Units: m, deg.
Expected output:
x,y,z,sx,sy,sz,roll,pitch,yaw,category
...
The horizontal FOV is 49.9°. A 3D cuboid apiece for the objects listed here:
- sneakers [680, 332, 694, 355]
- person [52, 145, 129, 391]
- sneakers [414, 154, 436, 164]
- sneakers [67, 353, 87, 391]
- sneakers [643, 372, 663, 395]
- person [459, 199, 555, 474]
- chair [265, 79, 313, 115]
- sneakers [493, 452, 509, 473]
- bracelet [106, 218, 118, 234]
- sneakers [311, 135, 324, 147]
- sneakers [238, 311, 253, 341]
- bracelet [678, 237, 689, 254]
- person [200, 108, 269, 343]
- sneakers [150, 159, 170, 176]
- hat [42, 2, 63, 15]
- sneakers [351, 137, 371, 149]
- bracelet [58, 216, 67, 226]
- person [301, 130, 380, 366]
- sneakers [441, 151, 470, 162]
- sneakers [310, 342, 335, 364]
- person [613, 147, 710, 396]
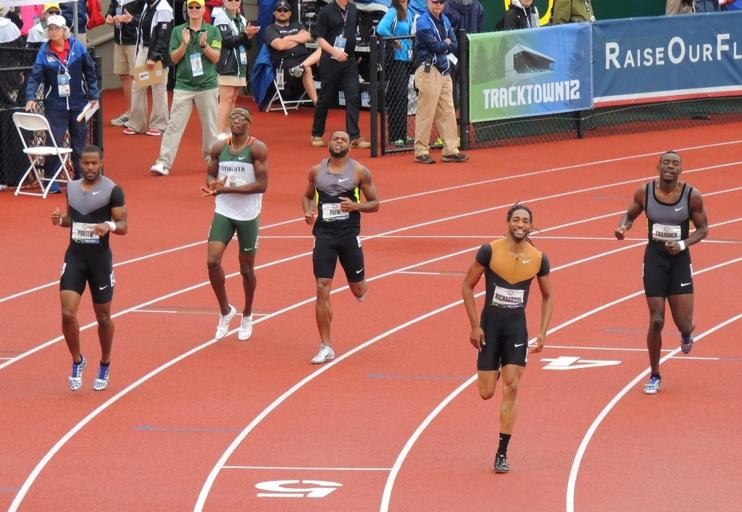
x,y,z,sx,sy,sz,roll,pitch,yaw,category
3.267,0.908,8.232,0.089,0.291,0.114,-1,-22,39,sneakers
-2.739,0.104,7.838,0.746,2.316,0.700,-9,15,-21,person
1.176,-2.064,17.050,0.364,0.184,0.185,3,6,41,sneakers
-2.907,1.161,7.809,0.123,0.406,0.151,2,-18,8,sneakers
2.700,1.202,7.640,0.152,0.174,0.321,3,17,24,sneakers
1.070,0.625,6.387,0.686,1.954,1.033,1,15,17,person
-2.434,-4.556,22.881,1.010,1.272,1.204,-3,1,44,chair
1.013,1.574,6.181,0.119,0.174,0.209,-1,15,8,sneakers
-2.517,-0.270,7.682,0.084,0.118,0.098,-13,28,25,bracelet
-1.264,-2.655,18.503,0.217,0.173,0.441,-2,9,-9,sneakers
-1.447,0.827,9.083,0.117,0.372,0.141,1,-26,2,sneakers
2.969,-0.086,7.598,0.105,0.076,0.148,0,9,18,bracelet
-1.516,-0.355,9.076,0.785,2.564,0.823,-6,14,-12,person
-4.270,-1.765,16.086,0.181,0.241,0.494,4,-9,5,sneakers
-6.168,-4.770,15.351,0.293,0.244,0.438,-1,9,-15,hat
-0.237,-2.593,18.394,0.457,0.218,0.208,2,27,4,sneakers
-3.047,-0.332,7.837,0.069,0.084,0.078,-4,12,-41,bracelet
-0.308,-0.149,8.630,0.823,2.328,1.131,-4,14,-3,person
1.801,-2.136,17.202,0.508,0.271,0.239,-3,27,-7,sneakers
-0.509,1.039,8.390,0.119,0.156,0.324,1,4,25,sneakers
2.850,0.094,7.882,0.712,2.189,1.055,9,18,40,person
